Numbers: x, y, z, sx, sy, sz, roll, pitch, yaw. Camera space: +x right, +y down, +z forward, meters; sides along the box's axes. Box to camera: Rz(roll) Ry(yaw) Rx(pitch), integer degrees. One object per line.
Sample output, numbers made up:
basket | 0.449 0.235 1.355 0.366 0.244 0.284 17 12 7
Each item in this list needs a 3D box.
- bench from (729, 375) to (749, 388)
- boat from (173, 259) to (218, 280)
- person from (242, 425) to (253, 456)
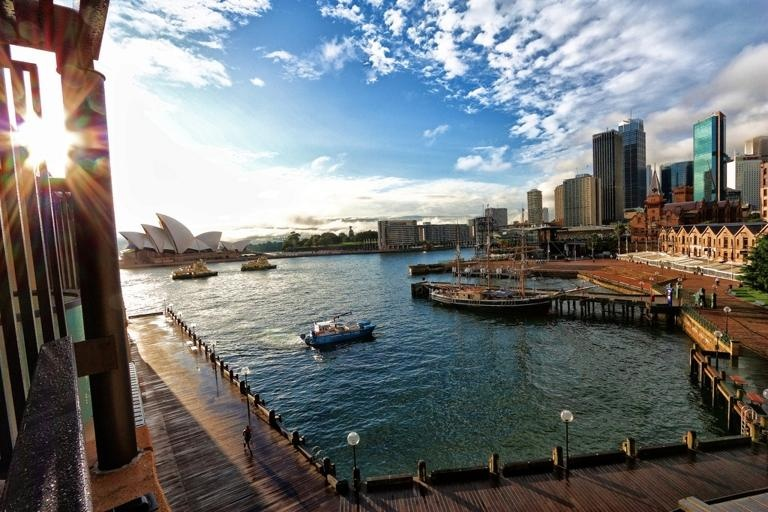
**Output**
bench | 22.275 7.963 28.684 0.734 0.308 0.970 2 7 8
boat | -57.245 4.249 137.953 8.283 4.872 13.692 -2 4 8
person | -7.334 9.821 24.543 0.462 1.275 1.242 -5 5 -18
